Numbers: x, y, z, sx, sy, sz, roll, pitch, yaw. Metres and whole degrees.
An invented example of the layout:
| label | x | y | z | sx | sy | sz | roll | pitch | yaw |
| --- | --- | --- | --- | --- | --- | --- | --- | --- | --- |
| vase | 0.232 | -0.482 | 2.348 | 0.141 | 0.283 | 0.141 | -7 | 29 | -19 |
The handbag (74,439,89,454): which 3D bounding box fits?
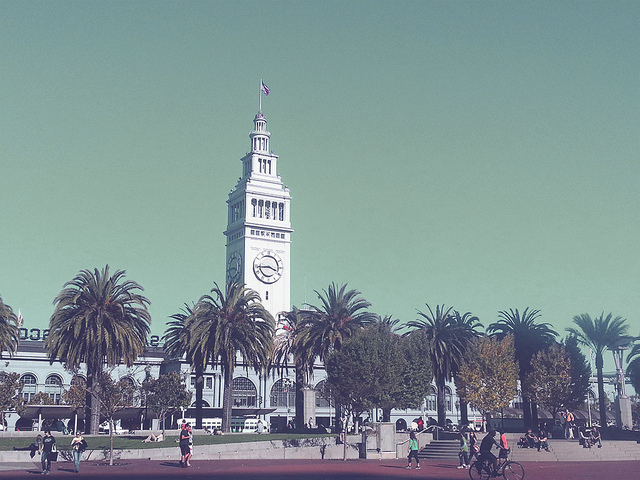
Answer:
| label | x | y | z | sx | sy | sz | roll | pitch | yaw |
| --- | --- | --- | --- | --- | --- | --- | --- | --- | --- |
| handbag | -19.633 | 17.158 | 81.470 | 0.752 | 1.257 | 2.284 | 2 | -21 | -5 |
